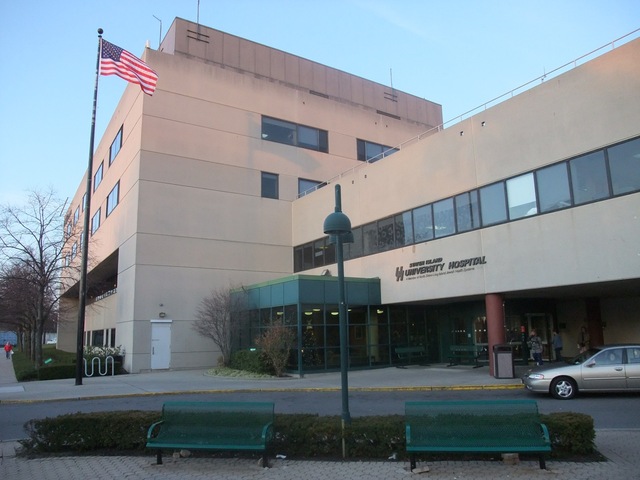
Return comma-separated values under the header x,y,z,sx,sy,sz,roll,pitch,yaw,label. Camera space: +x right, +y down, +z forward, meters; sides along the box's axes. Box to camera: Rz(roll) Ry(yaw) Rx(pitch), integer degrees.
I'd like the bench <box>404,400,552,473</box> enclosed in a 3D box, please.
x,y,z,sx,sy,sz,roll,pitch,yaw,label
3.077,3.875,10.531,2.637,1.277,1.040,-5,-5,16,bench

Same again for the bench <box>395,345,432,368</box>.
x,y,z,sx,sy,sz,roll,pitch,yaw,label
5.179,6.462,29.984,2.911,1.165,1.201,8,-15,-35,bench

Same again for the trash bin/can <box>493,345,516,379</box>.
x,y,z,sx,sy,sz,roll,pitch,yaw,label
7.536,4.991,22.009,0.765,1.352,0.425,-4,-11,13,trash bin/can

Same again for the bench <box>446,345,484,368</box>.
x,y,z,sx,sy,sz,roll,pitch,yaw,label
7.938,6.131,28.951,1.378,1.292,2.798,12,-12,-24,bench
